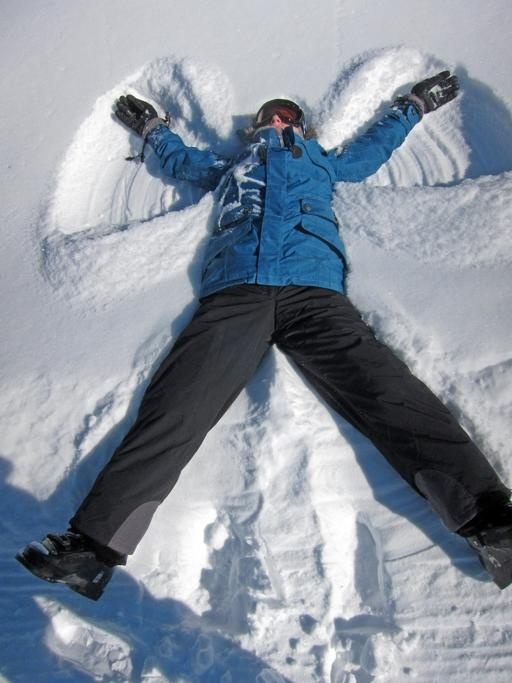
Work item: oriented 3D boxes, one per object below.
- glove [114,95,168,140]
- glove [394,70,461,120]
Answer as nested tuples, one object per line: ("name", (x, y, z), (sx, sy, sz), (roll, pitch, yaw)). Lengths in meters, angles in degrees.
("glove", (-0.581, -1.129, 3.581), (0.322, 0.178, 0.094), (38, 3, 23))
("glove", (0.839, -1.177, 3.307), (0.310, 0.186, 0.093), (-28, 29, -7))
